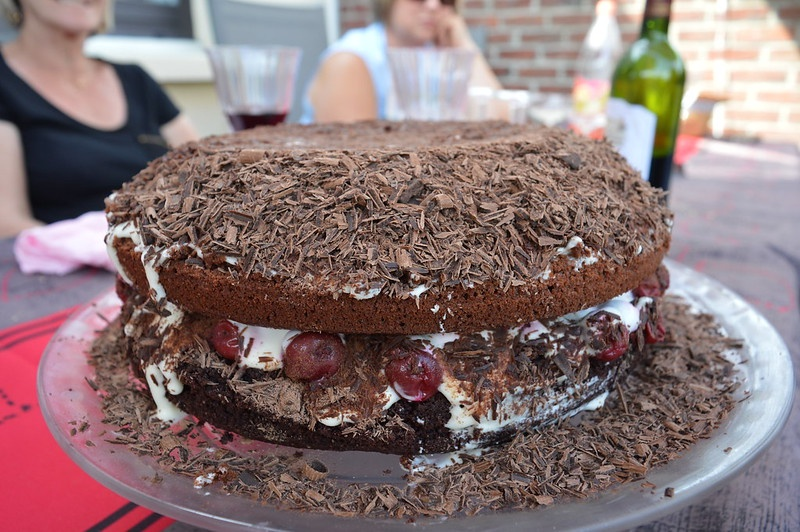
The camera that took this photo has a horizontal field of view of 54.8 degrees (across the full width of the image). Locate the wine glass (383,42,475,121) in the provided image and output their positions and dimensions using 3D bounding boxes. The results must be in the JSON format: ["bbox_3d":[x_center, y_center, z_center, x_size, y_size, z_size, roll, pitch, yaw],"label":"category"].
[{"bbox_3d":[0.103,-0.636,2.606,0.329,0.238,0.283,-1,22,2],"label":"wine glass"}]

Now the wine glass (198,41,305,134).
[{"bbox_3d":[-0.506,-0.601,2.721,0.349,0.361,0.368,-2,18,-8],"label":"wine glass"}]

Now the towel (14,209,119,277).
[{"bbox_3d":[-1.022,-0.074,2.372,0.197,0.065,0.215,-16,55,-30],"label":"towel"}]
